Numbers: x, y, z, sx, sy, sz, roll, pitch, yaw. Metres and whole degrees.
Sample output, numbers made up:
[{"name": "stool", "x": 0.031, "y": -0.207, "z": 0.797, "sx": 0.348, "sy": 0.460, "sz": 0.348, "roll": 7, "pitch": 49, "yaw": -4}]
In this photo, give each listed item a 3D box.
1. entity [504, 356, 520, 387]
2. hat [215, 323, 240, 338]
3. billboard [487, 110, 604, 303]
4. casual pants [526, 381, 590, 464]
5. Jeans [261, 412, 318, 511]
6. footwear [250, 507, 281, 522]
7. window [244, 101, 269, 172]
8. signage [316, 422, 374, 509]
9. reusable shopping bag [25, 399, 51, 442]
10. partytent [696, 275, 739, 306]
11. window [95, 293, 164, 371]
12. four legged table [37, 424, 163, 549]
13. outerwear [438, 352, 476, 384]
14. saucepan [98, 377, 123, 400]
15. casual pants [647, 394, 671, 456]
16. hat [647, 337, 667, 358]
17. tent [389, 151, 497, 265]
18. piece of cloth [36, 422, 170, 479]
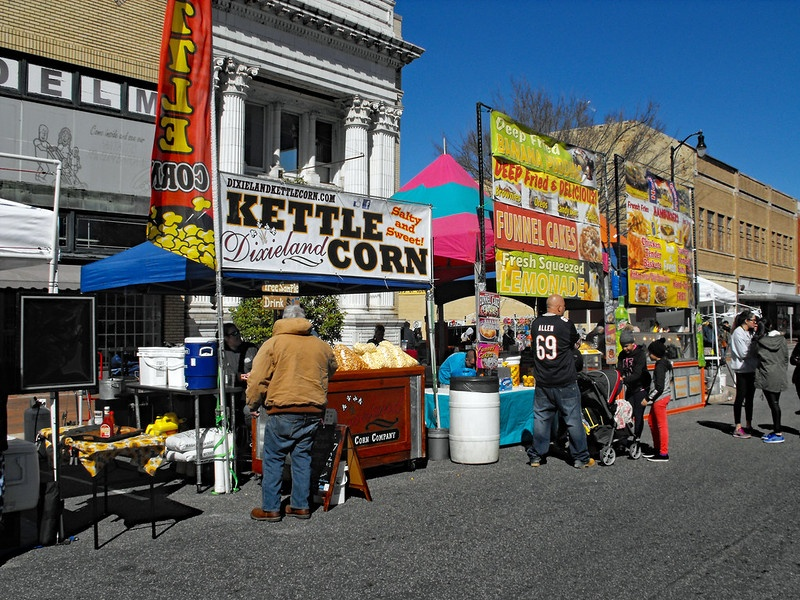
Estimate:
[{"name": "entity", "x": 2.022, "y": 1.277, "z": 12.436, "sx": 0.393, "sy": 0.630, "sz": 0.409, "roll": 1, "pitch": -5, "yaw": 1}, {"name": "hat", "x": -2.636, "y": 0.474, "z": 10.818, "sx": 0.217, "sy": 0.209, "sz": 0.374, "roll": 0, "pitch": 2, "yaw": -14}, {"name": "billboard", "x": 2.790, "y": -1.694, "z": 13.324, "sx": 3.302, "sy": 3.364, "sz": 0.443, "roll": -1, "pitch": 2, "yaw": -44}, {"name": "casual pants", "x": 2.413, "y": 1.704, "z": 10.713, "sx": 0.937, "sy": 1.682, "sz": 0.487, "roll": -1, "pitch": 29, "yaw": 12}, {"name": "Jeans", "x": -1.284, "y": 1.846, "z": 8.290, "sx": 0.582, "sy": 1.365, "sz": 0.406, "roll": 3, "pitch": 5, "yaw": -18}, {"name": "footwear", "x": -1.579, "y": 2.494, "z": 8.118, "sx": 0.315, "sy": 0.169, "sz": 0.146, "roll": 11, "pitch": 7, "yaw": 26}, {"name": "window", "x": -5.357, "y": -6.000, "z": 25.679, "sx": 0.828, "sy": 2.481, "sz": 0.405, "roll": -1, "pitch": 1, "yaw": -28}, {"name": "signage", "x": -0.737, "y": 2.151, "z": 8.967, "sx": 0.584, "sy": 0.916, "sz": 0.654, "roll": -1, "pitch": -15, "yaw": -11}, {"name": "reusable shopping bag", "x": -5.409, "y": 1.836, "z": 10.386, "sx": 0.324, "sy": 0.680, "sz": 0.302, "roll": 1, "pitch": 3, "yaw": -40}, {"name": "partytent", "x": 13.143, "y": -0.382, "z": 28.915, "sx": 1.536, "sy": 1.135, "sz": 1.515, "roll": 6, "pitch": -7, "yaw": -41}, {"name": "window", "x": -8.157, "y": 0.831, "z": 20.350, "sx": 1.473, "sy": 1.710, "sz": 0.031, "roll": -14, "pitch": 37, "yaw": -38}, {"name": "four legged table", "x": -3.337, "y": 2.329, "z": 8.323, "sx": 1.012, "sy": 1.219, "sz": 1.645, "roll": -1, "pitch": -11, "yaw": -23}, {"name": "outerwear", "x": 0.969, "y": 1.194, "z": 12.025, "sx": 0.577, "sy": 0.435, "sz": 0.493, "roll": 0, "pitch": 5, "yaw": 19}, {"name": "saucepan", "x": -4.407, "y": 1.374, "z": 10.566, "sx": 0.303, "sy": 0.364, "sz": 0.444, "roll": 0, "pitch": 2, "yaw": -5}, {"name": "casual pants", "x": 4.122, "y": 2.003, "z": 11.095, "sx": 0.278, "sy": 0.937, "sz": 0.570, "roll": 0, "pitch": 1, "yaw": 20}, {"name": "hat", "x": 4.118, "y": 0.782, "z": 11.195, "sx": 0.243, "sy": 0.292, "sz": 0.328, "roll": 6, "pitch": -1, "yaw": -32}, {"name": "tent", "x": 0.934, "y": -1.870, "z": 14.371, "sx": 2.486, "sy": 1.793, "sz": 2.449, "roll": 2, "pitch": 2, "yaw": 36}, {"name": "piece of cloth", "x": -3.634, "y": 1.839, "z": 8.513, "sx": 1.036, "sy": 0.325, "sz": 1.091, "roll": 10, "pitch": 2, "yaw": 28}]
